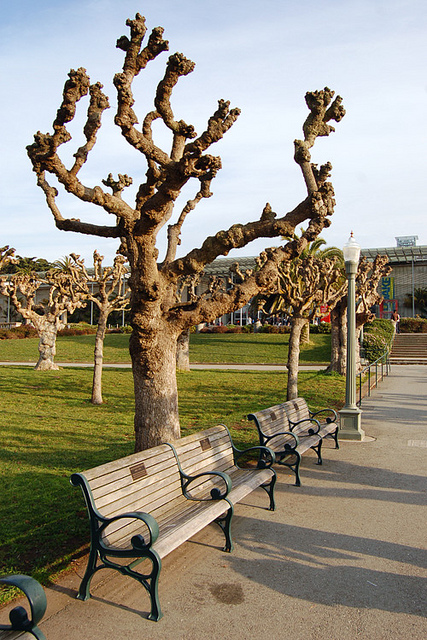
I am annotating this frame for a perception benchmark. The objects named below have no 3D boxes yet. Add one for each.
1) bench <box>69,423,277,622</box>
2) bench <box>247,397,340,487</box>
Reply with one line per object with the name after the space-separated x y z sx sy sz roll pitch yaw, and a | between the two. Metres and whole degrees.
-0.133 1.447 4.718 0.630 0.836 2.259 3 2 26 | bench
1.134 1.504 7.748 0.634 0.753 2.037 3 1 25 | bench
